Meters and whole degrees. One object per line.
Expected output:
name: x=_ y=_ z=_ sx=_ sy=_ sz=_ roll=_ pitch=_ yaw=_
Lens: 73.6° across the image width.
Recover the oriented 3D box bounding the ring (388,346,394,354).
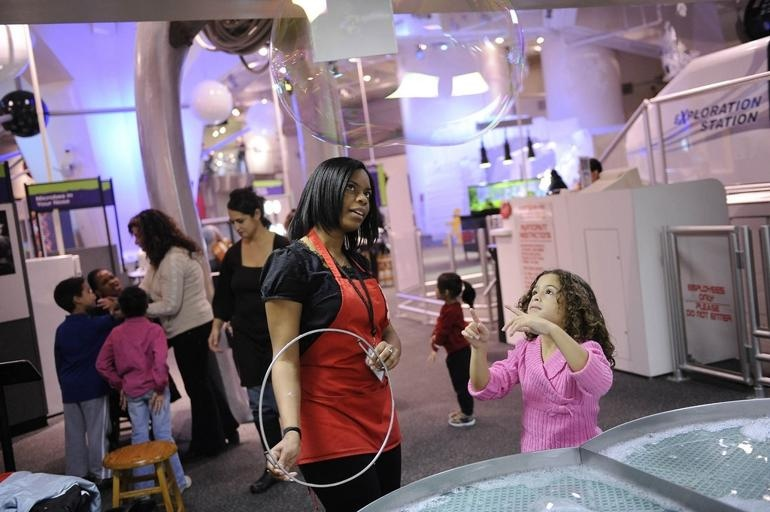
ring: x=0.021 y=0.327 z=1.808 sx=0.023 sy=0.021 sz=0.016 roll=2 pitch=-2 yaw=-2

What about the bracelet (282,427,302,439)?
bracelet: x=-0.294 y=0.552 z=1.620 sx=0.051 sy=0.032 sz=0.033 roll=-5 pitch=-1 yaw=-12

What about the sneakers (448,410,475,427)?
sneakers: x=0.611 y=1.307 z=4.152 sx=0.190 sy=0.084 sz=0.098 roll=3 pitch=4 yaw=3

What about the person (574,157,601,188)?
person: x=2.380 y=-0.978 z=5.985 sx=0.229 sy=0.366 sz=1.208 roll=-5 pitch=-1 yaw=21
